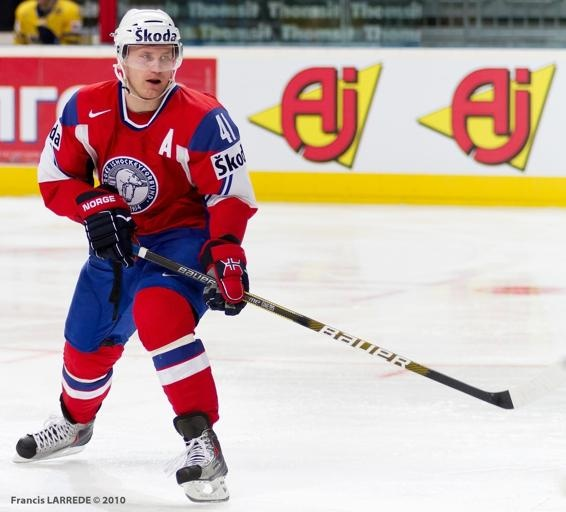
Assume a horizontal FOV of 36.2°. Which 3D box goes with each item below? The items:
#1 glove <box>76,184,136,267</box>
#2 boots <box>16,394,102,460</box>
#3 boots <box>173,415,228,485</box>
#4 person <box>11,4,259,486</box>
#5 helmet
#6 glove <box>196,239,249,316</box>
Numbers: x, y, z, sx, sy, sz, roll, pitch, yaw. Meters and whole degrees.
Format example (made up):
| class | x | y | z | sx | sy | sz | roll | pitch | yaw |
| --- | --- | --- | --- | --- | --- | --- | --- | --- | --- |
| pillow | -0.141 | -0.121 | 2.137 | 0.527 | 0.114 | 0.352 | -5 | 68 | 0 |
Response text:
| class | x | y | z | sx | sy | sz | roll | pitch | yaw |
| --- | --- | --- | --- | --- | --- | --- | --- | --- | --- |
| glove | -0.443 | -0.069 | 2.176 | 0.145 | 0.192 | 0.067 | -17 | -20 | -1 |
| boots | -0.614 | 0.495 | 2.418 | 0.282 | 0.147 | 0.085 | -3 | 6 | -32 |
| boots | -0.197 | 0.460 | 2.063 | 0.118 | 0.146 | 0.127 | -2 | 15 | -8 |
| person | -0.365 | -0.026 | 2.205 | 0.719 | 1.198 | 0.542 | 7 | 17 | 23 |
| helmet | -0.351 | -0.575 | 2.312 | 0.189 | 0.163 | 0.200 | 0 | 1 | -16 |
| glove | -0.166 | 0.058 | 2.187 | 0.151 | 0.175 | 0.074 | -4 | -35 | -27 |
